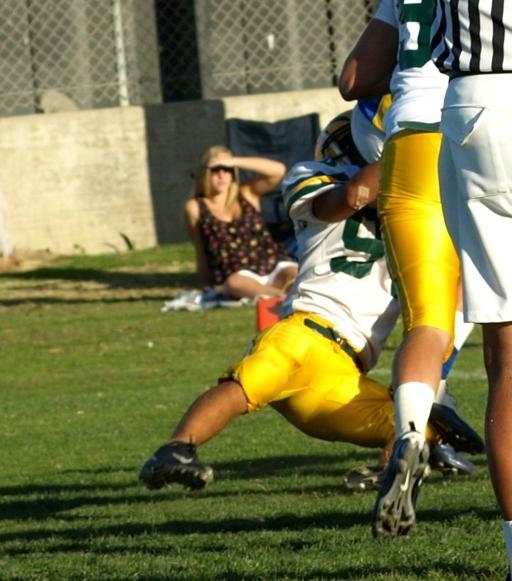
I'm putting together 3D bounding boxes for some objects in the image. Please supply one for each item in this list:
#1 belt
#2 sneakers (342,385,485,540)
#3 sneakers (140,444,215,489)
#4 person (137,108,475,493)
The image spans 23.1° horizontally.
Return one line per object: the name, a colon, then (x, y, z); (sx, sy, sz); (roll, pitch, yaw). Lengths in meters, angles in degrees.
belt: (0.196, 0.134, 3.158); (0.132, 0.039, 0.131); (40, -3, -11)
sneakers: (0.364, 0.345, 2.787); (0.245, 0.136, 0.391); (32, 19, -5)
sneakers: (-0.189, 0.428, 2.949); (0.203, 0.077, 0.110); (6, 34, -4)
person: (0.198, 0.004, 3.182); (0.935, 1.071, 0.537); (5, -27, -9)
